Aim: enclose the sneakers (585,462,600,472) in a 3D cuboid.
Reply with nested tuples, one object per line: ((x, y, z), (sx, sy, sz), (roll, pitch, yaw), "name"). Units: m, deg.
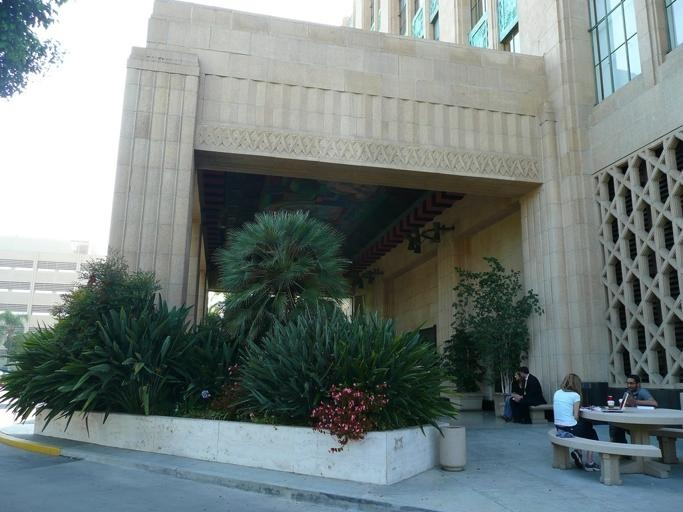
((4.162, 3.476, 9.503), (0.290, 0.143, 0.112), (-2, -2, -10), "sneakers")

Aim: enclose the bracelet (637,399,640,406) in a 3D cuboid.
((5.347, 2.666, 10.373), (0.039, 0.080, 0.073), (-8, -13, 44), "bracelet")

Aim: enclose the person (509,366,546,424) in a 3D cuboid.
((4.978, 3.723, 15.389), (0.849, 1.475, 0.713), (0, -3, 9), "person")

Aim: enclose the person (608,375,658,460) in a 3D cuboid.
((5.385, 2.810, 10.567), (0.568, 1.143, 0.619), (0, -11, -17), "person")

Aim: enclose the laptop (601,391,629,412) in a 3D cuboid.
((4.684, 2.404, 9.815), (0.377, 0.292, 0.459), (-5, -19, 11), "laptop")

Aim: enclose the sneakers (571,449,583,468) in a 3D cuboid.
((4.014, 3.432, 9.786), (0.139, 0.350, 0.117), (-31, 17, -29), "sneakers")
